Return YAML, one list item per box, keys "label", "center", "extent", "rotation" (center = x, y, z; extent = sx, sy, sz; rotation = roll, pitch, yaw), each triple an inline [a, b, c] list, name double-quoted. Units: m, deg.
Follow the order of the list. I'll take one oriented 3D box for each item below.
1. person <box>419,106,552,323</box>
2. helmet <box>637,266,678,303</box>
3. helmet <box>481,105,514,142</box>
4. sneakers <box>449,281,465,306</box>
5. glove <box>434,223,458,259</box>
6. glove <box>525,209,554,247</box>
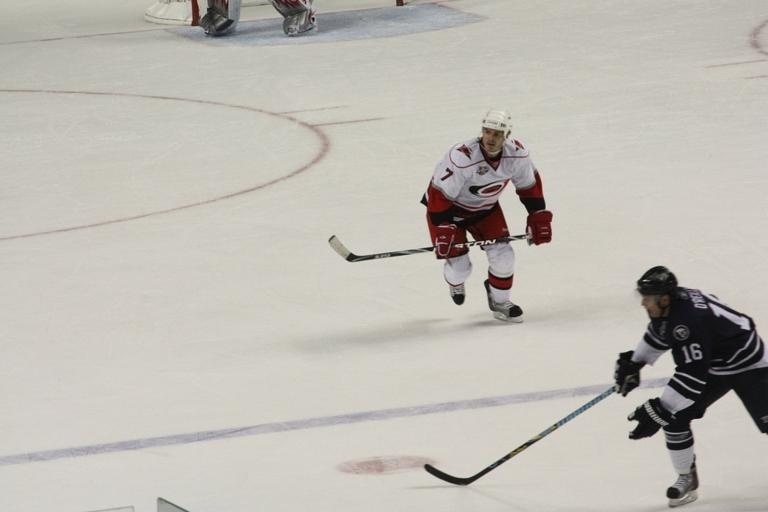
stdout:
- label: "person"
  center: [0.673, -0.278, 7.103]
  extent: [0.787, 1.331, 0.529]
  rotation: [-4, 21, 1]
- label: "helmet"
  center: [1.382, 0.140, 5.648]
  extent: [0.195, 0.133, 0.150]
  rotation: [11, 10, 21]
- label: "helmet"
  center: [0.705, -0.814, 6.882]
  extent: [0.200, 0.192, 0.219]
  rotation: [8, 22, 14]
- label: "sneakers"
  center: [0.483, 0.247, 7.281]
  extent: [0.069, 0.169, 0.071]
  rotation: [-10, 18, 4]
- label: "glove"
  center: [0.396, -0.101, 7.069]
  extent: [0.174, 0.195, 0.088]
  rotation: [3, 6, 16]
- label: "glove"
  center: [0.945, -0.196, 7.090]
  extent: [0.189, 0.192, 0.222]
  rotation: [0, -4, -2]
